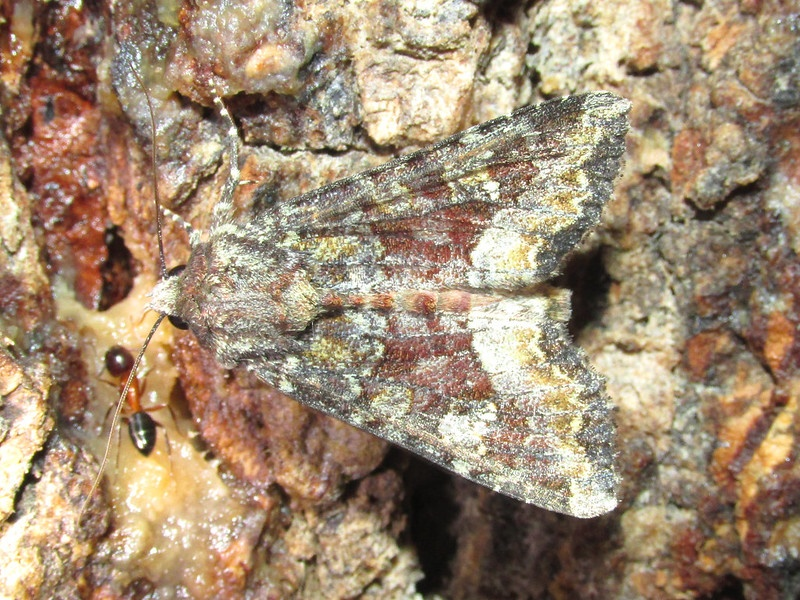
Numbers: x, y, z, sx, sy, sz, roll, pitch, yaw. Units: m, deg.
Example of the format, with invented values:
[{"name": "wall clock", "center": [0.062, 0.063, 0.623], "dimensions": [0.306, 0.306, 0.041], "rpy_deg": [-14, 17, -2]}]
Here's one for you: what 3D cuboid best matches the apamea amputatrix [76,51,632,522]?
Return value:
[{"name": "apamea amputatrix", "center": [0.139, 0.003, 4.664], "dimensions": [2.086, 2.156, 0.423], "rpy_deg": [2, 2, 8]}]
